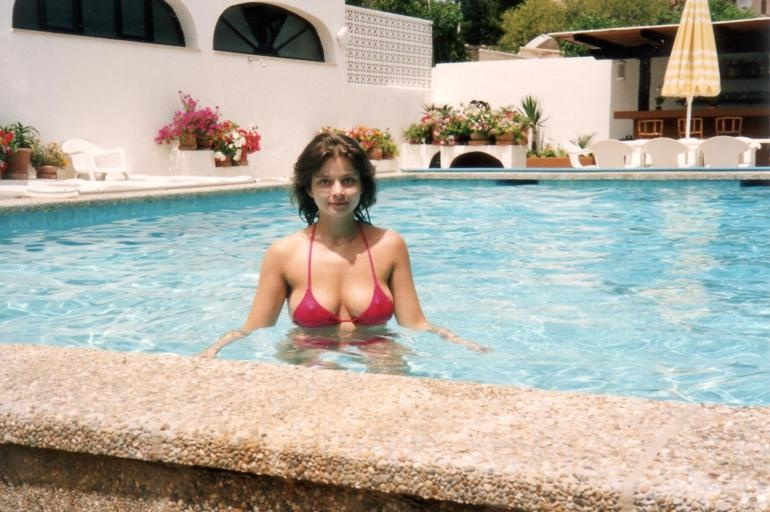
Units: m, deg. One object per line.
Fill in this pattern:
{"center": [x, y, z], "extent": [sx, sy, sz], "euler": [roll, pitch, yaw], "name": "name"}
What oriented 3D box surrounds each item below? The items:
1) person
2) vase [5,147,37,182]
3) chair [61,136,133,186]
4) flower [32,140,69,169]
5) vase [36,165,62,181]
{"center": [-0.199, 0.024, 2.867], "extent": [1.615, 1.131, 0.795], "euler": [-1, 9, -8], "name": "person"}
{"center": [-5.531, -1.384, 9.324], "extent": [0.518, 0.382, 0.486], "euler": [0, -1, -2], "name": "vase"}
{"center": [-4.851, -1.572, 10.110], "extent": [1.154, 0.879, 0.992], "euler": [4, 10, 30], "name": "chair"}
{"center": [-5.468, -1.597, 9.853], "extent": [0.539, 0.300, 0.507], "euler": [4, 1, 12], "name": "flower"}
{"center": [-5.386, -1.309, 9.711], "extent": [0.389, 0.196, 0.344], "euler": [0, -3, -1], "name": "vase"}
